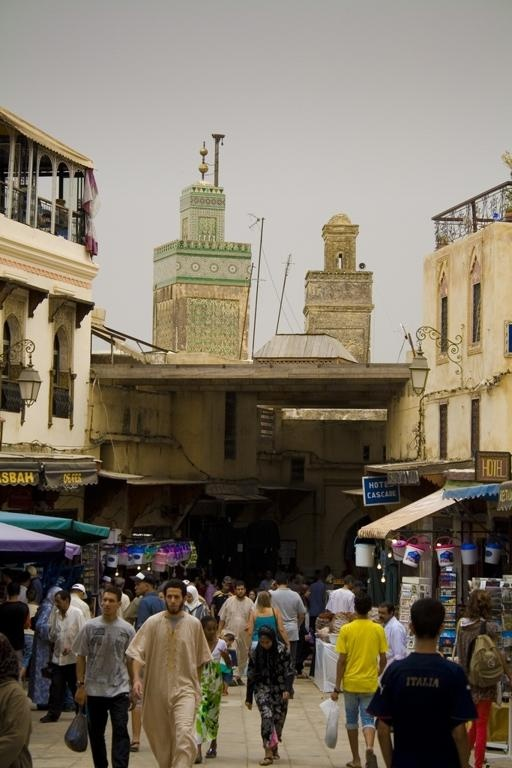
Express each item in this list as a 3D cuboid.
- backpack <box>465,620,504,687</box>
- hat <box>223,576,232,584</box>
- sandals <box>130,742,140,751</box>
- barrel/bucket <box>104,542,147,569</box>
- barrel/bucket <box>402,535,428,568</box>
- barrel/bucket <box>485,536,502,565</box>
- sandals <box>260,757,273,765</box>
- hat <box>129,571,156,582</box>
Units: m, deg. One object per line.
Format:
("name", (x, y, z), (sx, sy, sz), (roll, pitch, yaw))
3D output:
("backpack", (1.622, 1.936, 8.599), (0.238, 0.454, 0.219), (1, -5, 6))
("hat", (-0.405, 2.769, 17.106), (0.133, 0.082, 0.198), (2, -11, -2))
("sandals", (-1.033, 3.104, 10.334), (0.102, 0.075, 0.077), (5, -7, -32))
("barrel/bucket", (-2.094, 2.647, 18.647), (0.490, 0.275, 0.368), (-3, -3, 28))
("barrel/bucket", (2.058, 2.193, 15.854), (0.273, 0.379, 0.568), (-1, -6, 28))
("barrel/bucket", (2.739, 1.949, 14.029), (0.177, 0.312, 0.747), (1, -6, 13))
("sandals", (0.082, 3.022, 9.685), (0.064, 0.052, 0.129), (-2, -18, 5))
("hat", (-1.180, 2.012, 12.556), (0.263, 0.150, 0.176), (6, -13, -5))
